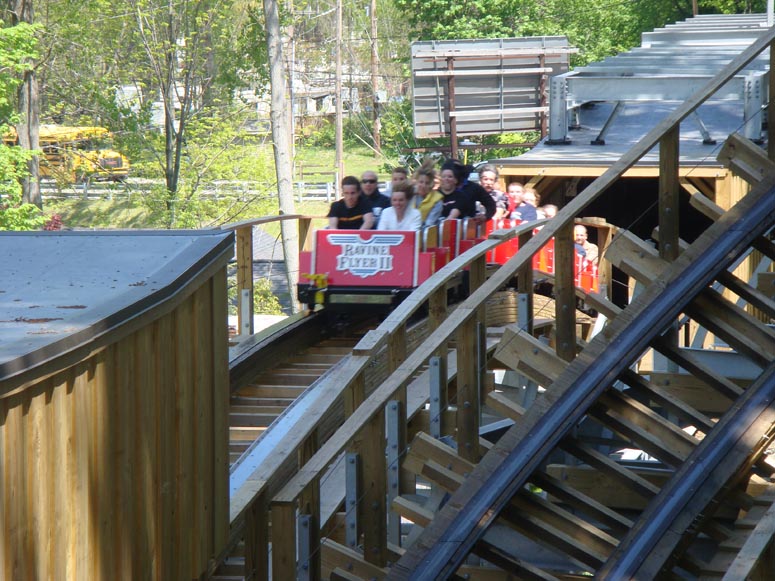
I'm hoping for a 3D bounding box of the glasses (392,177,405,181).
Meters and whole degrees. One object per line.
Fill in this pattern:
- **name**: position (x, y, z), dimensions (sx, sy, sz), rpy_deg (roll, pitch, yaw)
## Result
- **glasses**: position (0.191, -1.732, 32.172), dimensions (0.187, 0.066, 0.047), rpy_deg (-1, 15, 1)
